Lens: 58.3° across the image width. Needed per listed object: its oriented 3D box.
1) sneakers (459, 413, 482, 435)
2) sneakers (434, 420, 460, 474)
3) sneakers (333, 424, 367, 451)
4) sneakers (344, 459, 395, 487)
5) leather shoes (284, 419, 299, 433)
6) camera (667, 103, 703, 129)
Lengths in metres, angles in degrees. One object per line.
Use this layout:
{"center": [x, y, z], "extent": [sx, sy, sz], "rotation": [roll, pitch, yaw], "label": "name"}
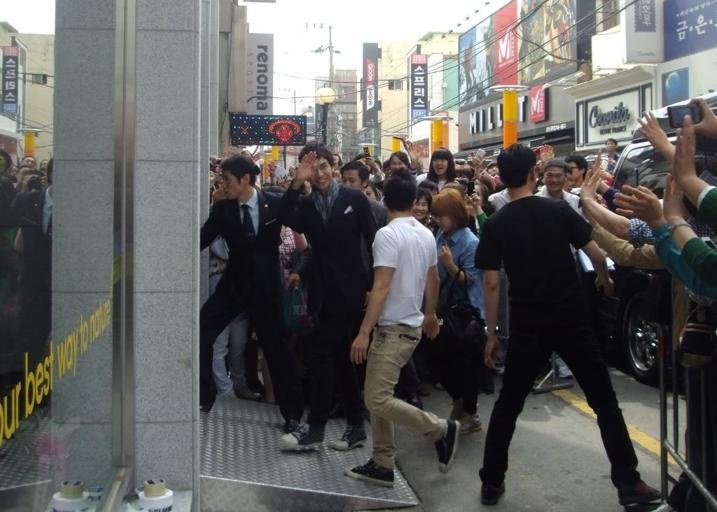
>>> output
{"center": [0.995, 1.510, 5.772], "extent": [0.311, 0.140, 0.105], "rotation": [0, 0, -25], "label": "sneakers"}
{"center": [0.667, 1.398, 4.846], "extent": [0.179, 0.421, 0.143], "rotation": [5, 12, -8], "label": "sneakers"}
{"center": [-0.068, 1.504, 5.378], "extent": [0.121, 0.161, 0.364], "rotation": [1, -3, 42], "label": "sneakers"}
{"center": [0.102, 1.586, 4.785], "extent": [0.406, 0.187, 0.137], "rotation": [10, -6, 16], "label": "sneakers"}
{"center": [-0.585, 1.450, 5.505], "extent": [0.068, 0.084, 0.197], "rotation": [8, -19, -37], "label": "leather shoes"}
{"center": [1.689, -0.735, 3.381], "extent": [0.169, 0.130, 0.206], "rotation": [6, 9, 42], "label": "camera"}
